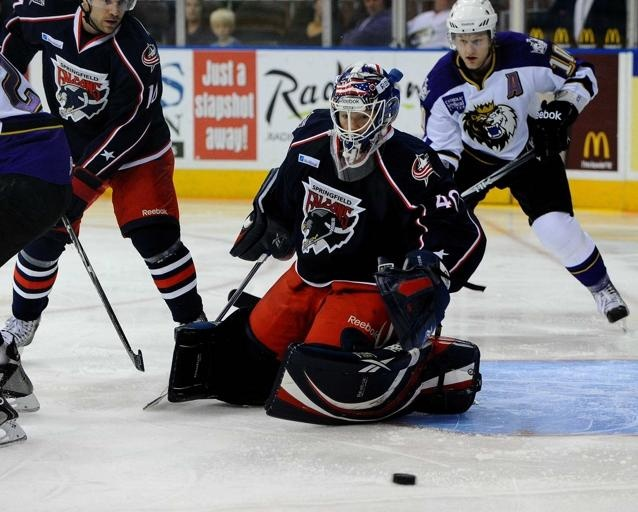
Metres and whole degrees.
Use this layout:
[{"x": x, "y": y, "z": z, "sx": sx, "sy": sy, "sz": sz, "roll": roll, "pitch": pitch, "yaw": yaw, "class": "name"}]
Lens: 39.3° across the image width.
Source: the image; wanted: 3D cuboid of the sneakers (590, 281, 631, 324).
[{"x": 1.348, "y": 0.207, "z": 4.228, "sx": 0.093, "sy": 0.108, "sz": 0.269, "roll": -36, "pitch": 19, "yaw": 12, "class": "sneakers"}]

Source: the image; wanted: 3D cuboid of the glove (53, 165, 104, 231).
[{"x": -0.892, "y": -0.233, "z": 3.420, "sx": 0.105, "sy": 0.269, "sz": 0.206, "roll": 29, "pitch": 1, "yaw": 11, "class": "glove"}]

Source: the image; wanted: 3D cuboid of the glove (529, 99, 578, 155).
[{"x": 1.075, "y": -0.577, "z": 4.111, "sx": 0.207, "sy": 0.254, "sz": 0.108, "roll": -11, "pitch": -25, "yaw": 30, "class": "glove"}]

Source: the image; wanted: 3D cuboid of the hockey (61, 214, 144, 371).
[{"x": -1.016, "y": 0.191, "z": 4.244, "sx": 0.063, "sy": 0.744, "sz": 0.092, "roll": -14, "pitch": 21, "yaw": 21, "class": "hockey"}]

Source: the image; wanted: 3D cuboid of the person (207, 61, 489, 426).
[{"x": 0.083, "y": -0.036, "z": 2.855, "sx": 0.881, "sy": 1.116, "sz": 0.527, "roll": 2, "pitch": 11, "yaw": 9, "class": "person"}]
